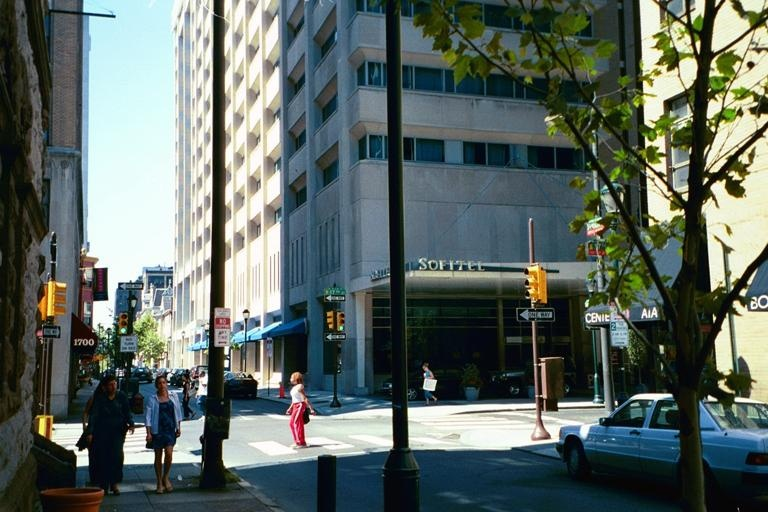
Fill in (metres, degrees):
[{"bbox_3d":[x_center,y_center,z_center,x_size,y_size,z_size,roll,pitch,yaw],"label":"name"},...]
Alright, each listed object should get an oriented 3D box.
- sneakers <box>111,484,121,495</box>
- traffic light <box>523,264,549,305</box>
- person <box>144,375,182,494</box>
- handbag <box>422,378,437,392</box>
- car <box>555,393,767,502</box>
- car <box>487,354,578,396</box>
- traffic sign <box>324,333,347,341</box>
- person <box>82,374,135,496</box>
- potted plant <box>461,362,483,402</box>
[{"bbox_3d":[-5.383,4.648,17.490,0.175,0.206,0.311,1,-11,-17],"label":"sneakers"},{"bbox_3d":[4.478,0.797,25.432,0.528,1.313,1.015,-3,-10,5],"label":"traffic light"},{"bbox_3d":[-4.615,3.650,18.311,0.679,2.384,1.162,0,-10,-14],"label":"person"},{"bbox_3d":[2.012,5.468,37.221,0.665,0.687,0.580,5,-28,-5],"label":"handbag"},{"bbox_3d":[5.554,3.770,17.569,2.002,2.031,5.166,4,-12,-29],"label":"car"},{"bbox_3d":[6.710,5.804,42.168,3.469,1.744,2.105,1,-5,-10],"label":"car"},{"bbox_3d":[-2.075,3.438,37.610,0.777,0.393,1.914,-2,-11,0],"label":"traffic sign"},{"bbox_3d":[-5.564,3.600,17.690,0.872,2.349,0.745,1,-10,-19],"label":"person"},{"bbox_3d":[4.073,5.806,40.327,0.877,1.672,1.582,-3,-10,6],"label":"potted plant"}]
